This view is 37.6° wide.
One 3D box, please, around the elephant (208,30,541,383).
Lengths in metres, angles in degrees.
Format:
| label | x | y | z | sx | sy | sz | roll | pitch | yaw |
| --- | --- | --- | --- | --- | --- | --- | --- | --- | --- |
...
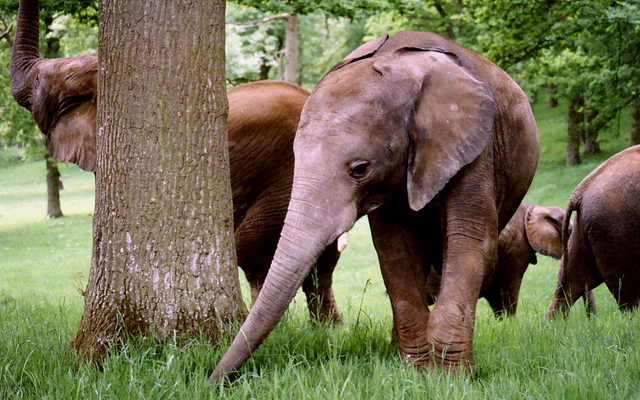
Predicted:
| label | x | y | z | sx | sy | sz | roll | pitch | yaw |
| --- | --- | --- | --- | --- | --- | --- | --- | --- | --- |
| elephant | 1.460 | 0.010 | 13.422 | 2.623 | 4.629 | 5.512 | 4 | 8 | 43 |

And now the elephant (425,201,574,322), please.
| label | x | y | z | sx | sy | sz | roll | pitch | yaw |
| --- | --- | --- | --- | --- | --- | --- | --- | --- | --- |
| elephant | 2.991 | 0.964 | 15.620 | 3.020 | 1.858 | 1.393 | -1 | 18 | -6 |
